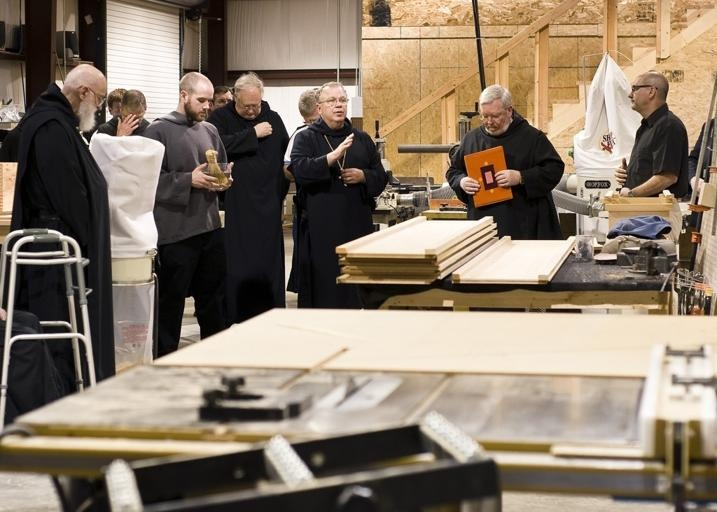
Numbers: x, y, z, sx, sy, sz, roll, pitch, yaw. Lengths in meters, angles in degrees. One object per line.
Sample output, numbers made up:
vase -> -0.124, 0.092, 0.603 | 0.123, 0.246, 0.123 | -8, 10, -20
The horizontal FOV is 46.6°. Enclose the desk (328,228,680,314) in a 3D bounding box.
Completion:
desk -> 0.620, 0.081, 3.789 | 1.318, 0.357, 0.921 | 2, 8, 7

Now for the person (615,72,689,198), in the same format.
person -> 1.776, -0.738, 5.016 | 0.412, 0.784, 0.737 | 4, 8, 18

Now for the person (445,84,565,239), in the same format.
person -> 0.893, -0.568, 5.060 | 0.696, 0.911, 0.525 | 3, 8, 12

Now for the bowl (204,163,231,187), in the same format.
bowl -> -0.816, -0.485, 4.963 | 0.148, 0.153, 0.135 | -1, 7, 0
